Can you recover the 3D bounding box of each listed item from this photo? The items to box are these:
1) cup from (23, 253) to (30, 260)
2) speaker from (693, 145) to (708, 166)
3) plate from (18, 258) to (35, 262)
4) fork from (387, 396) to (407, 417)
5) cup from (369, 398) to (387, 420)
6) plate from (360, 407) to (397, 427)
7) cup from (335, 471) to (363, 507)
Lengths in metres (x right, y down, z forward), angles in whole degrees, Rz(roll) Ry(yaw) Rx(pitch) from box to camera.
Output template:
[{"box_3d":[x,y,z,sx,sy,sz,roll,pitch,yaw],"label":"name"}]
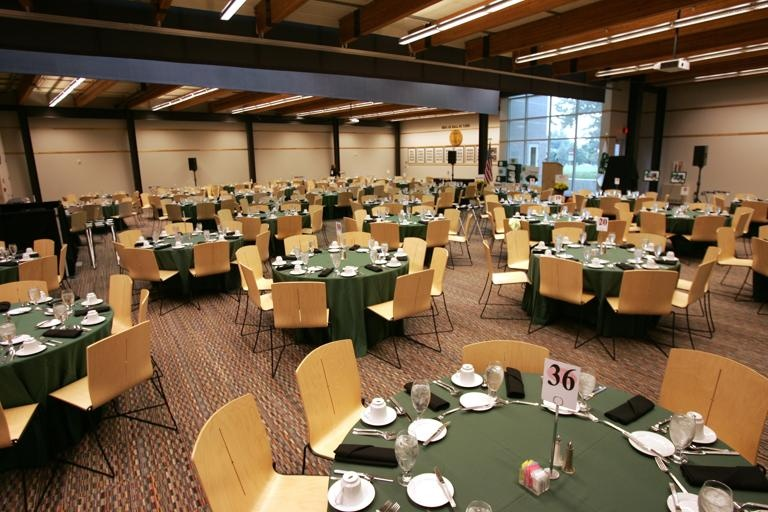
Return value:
[{"box_3d":[-5.663,0.021,7.434,0.106,0.094,0.101,-3,10,0],"label":"cup"},{"box_3d":[9.220,-2.870,13.673,0.293,0.604,0.375,5,15,22],"label":"speaker"},{"box_3d":[-5.462,0.069,7.173,0.176,0.038,0.164,-1,6,2],"label":"plate"},{"box_3d":[0.117,1.230,3.805,0.064,0.049,0.294,-4,7,-11],"label":"fork"},{"box_3d":[-0.060,1.232,3.785,0.131,0.145,0.160,-2,2,-8],"label":"cup"},{"box_3d":[-0.039,1.279,3.730,0.295,0.115,0.128,-1,14,-2],"label":"plate"},{"box_3d":[-0.243,1.625,3.281,0.181,0.186,0.122,-2,14,-4],"label":"cup"}]
